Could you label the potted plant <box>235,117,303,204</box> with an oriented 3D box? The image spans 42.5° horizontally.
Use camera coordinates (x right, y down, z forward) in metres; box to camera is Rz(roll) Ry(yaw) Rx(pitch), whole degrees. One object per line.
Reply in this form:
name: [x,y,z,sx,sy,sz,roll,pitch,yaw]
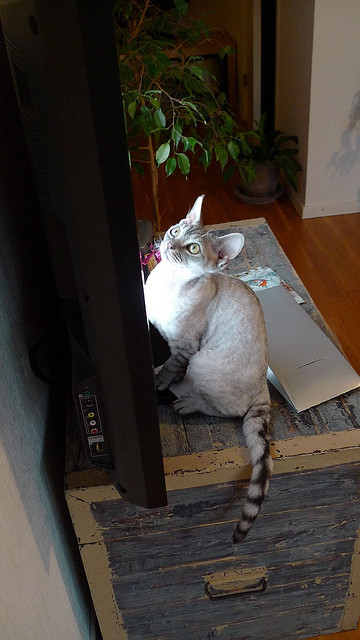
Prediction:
potted plant: [0.547,-1.064,3.139,0.421,0.451,0.566,-11,43,-15]
